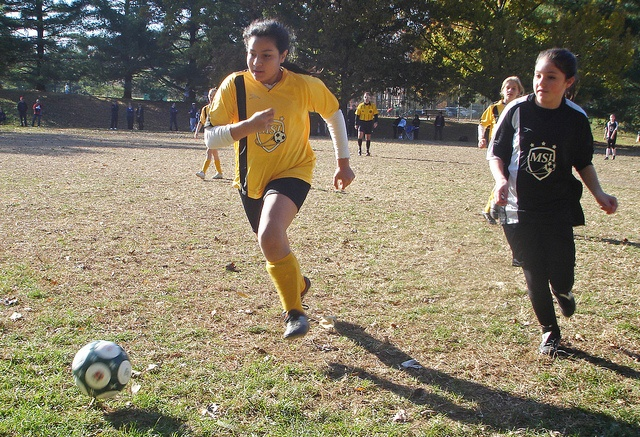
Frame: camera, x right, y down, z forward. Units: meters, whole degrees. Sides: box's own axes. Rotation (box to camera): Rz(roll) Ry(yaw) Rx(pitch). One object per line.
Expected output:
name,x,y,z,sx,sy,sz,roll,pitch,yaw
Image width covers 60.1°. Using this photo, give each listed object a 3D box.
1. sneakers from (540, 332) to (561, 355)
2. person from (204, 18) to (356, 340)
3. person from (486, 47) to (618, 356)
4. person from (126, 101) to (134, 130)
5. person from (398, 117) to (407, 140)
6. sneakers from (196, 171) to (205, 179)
sneakers,2.297,1.251,5.524,0.158,0.244,0.104,5,-15,12
person,-0.412,-0.518,5.505,1.451,2.853,0.985,1,9,-12
person,2.200,-0.146,5.462,1.057,2.959,0.328,5,9,9
person,-12.834,-6.847,37.478,0.358,1.635,1.482,0,10,-22
person,5.521,-6.003,36.917,0.632,1.386,2.654,4,10,8
sneakers,-2.829,-1.021,13.101,0.191,0.197,0.351,1,10,-13
